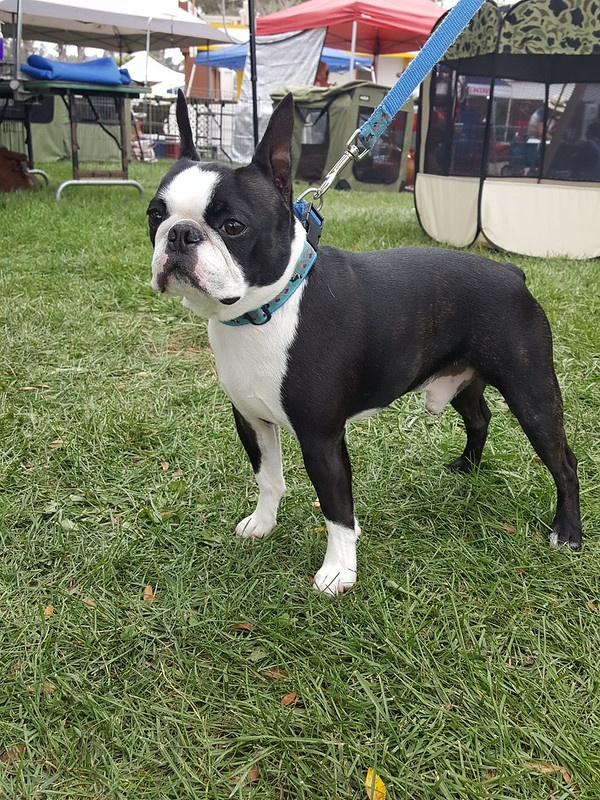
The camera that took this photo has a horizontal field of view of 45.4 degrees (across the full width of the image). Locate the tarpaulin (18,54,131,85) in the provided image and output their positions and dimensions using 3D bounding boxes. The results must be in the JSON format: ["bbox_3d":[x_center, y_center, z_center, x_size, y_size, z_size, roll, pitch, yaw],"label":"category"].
[{"bbox_3d":[-2.464,-3.652,7.950,1.046,0.304,0.549,-20,30,-41],"label":"tarpaulin"}]

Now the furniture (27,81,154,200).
[{"bbox_3d":[-2.526,-3.183,8.961,1.182,1.261,1.452,-8,20,-9],"label":"furniture"}]

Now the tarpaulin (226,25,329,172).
[{"bbox_3d":[-0.228,-6.656,15.341,2.044,2.786,2.011,2,18,45],"label":"tarpaulin"}]

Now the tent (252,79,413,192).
[{"bbox_3d":[0.054,-4.627,12.575,2.434,1.586,1.784,12,16,8],"label":"tent"}]
